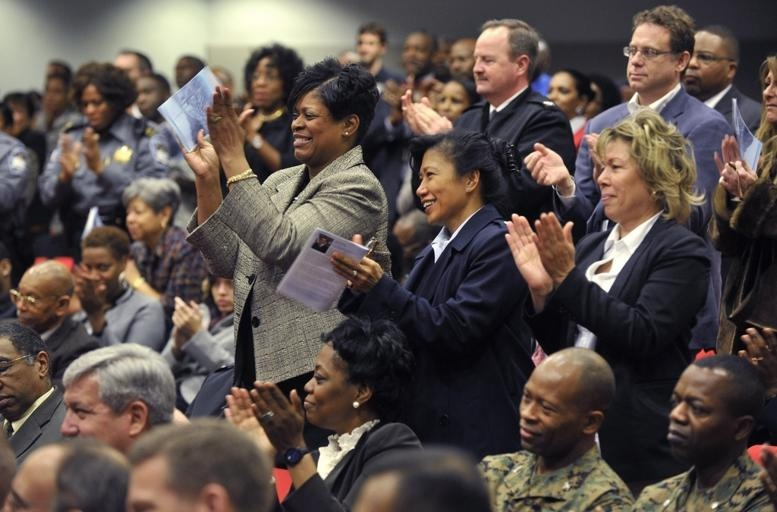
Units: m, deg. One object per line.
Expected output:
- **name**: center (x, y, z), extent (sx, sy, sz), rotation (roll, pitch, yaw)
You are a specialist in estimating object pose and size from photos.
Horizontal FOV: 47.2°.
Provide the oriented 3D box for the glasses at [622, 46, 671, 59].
- **glasses**: center (1.479, -1.155, 5.099), extent (0.229, 0.063, 0.084), rotation (13, 20, 34)
